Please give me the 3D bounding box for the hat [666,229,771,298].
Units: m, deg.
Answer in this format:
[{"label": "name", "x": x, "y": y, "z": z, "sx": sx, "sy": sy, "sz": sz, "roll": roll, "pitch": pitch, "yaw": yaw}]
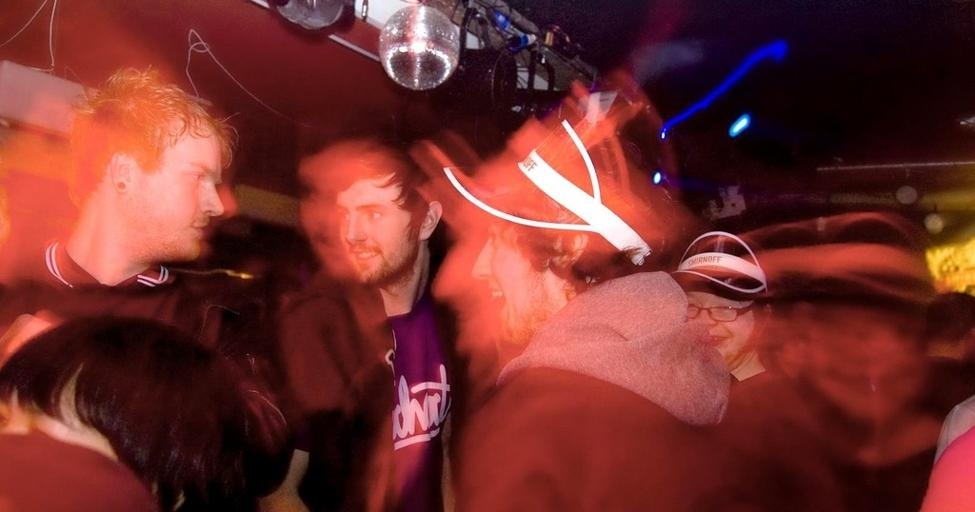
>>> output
[{"label": "hat", "x": 2.048, "y": 0.011, "z": 6.549, "sx": 0.763, "sy": 0.551, "sz": 1.083, "roll": -3, "pitch": -3, "yaw": 38}]
